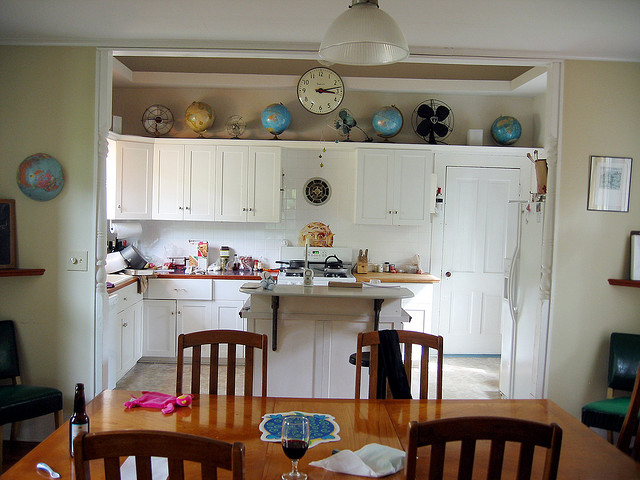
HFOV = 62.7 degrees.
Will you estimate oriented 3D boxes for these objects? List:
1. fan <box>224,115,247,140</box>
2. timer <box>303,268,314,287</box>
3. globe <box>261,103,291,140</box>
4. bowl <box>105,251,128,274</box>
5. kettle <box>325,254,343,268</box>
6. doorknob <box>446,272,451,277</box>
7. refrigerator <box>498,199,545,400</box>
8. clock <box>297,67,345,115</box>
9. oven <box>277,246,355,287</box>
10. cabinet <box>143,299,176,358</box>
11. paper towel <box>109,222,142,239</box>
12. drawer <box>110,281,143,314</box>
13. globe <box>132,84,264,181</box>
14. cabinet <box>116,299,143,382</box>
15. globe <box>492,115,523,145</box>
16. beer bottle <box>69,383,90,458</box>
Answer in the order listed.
[{"bbox_3d":[-1.001,-1.352,6.434,0.280,0.329,0.294,0,-1,4],"label":"fan"},{"bbox_3d":[-0.109,0.333,4.659,0.083,0.141,0.173,0,5,-2],"label":"timer"},{"bbox_3d":[-0.526,-1.437,6.293,0.350,0.453,0.278,0,5,-5],"label":"globe"},{"bbox_3d":[-2.195,0.240,5.639,0.141,0.201,0.588,0,5,-10],"label":"bowl"},{"bbox_3d":[0.163,0.275,6.462,0.180,0.152,0.125,0,2,-5],"label":"kettle"},{"bbox_3d":[1.582,0.419,6.478,0.047,0.047,0.015,-13,4,5],"label":"doorknob"},{"bbox_3d":[1.872,0.610,4.899,0.263,1.965,0.726,2,5,15],"label":"refrigerator"},{"bbox_3d":[0.005,-1.614,5.697,0.589,0.599,0.035,11,-3,1],"label":"clock"},{"bbox_3d":[-0.053,0.413,6.393,0.908,0.619,0.504,1,8,-1],"label":"oven"},{"bbox_3d":[-1.819,0.970,5.957,0.285,0.636,0.372,2,5,-20],"label":"cabinet"},{"bbox_3d":[-2.200,-0.116,5.941,0.158,0.159,0.370,-9,-2,29],"label":"paper towel"},{"bbox_3d":[-1.991,0.586,5.436,0.186,0.197,0.573,1,5,1],"label":"drawer"},{"bbox_3d":[-1.384,-1.408,6.348,1.429,0.510,0.444,-2,11,-12],"label":"globe"},{"bbox_3d":[-2.007,1.031,5.502,0.177,0.539,0.282,2,5,-15],"label":"cabinet"},{"bbox_3d":[2.232,-1.307,6.376,0.311,0.361,0.327,-1,-5,7],"label":"globe"},{"bbox_3d":[-1.210,0.911,2.640,0.092,0.361,0.094,-3,-6,0],"label":"beer bottle"}]
